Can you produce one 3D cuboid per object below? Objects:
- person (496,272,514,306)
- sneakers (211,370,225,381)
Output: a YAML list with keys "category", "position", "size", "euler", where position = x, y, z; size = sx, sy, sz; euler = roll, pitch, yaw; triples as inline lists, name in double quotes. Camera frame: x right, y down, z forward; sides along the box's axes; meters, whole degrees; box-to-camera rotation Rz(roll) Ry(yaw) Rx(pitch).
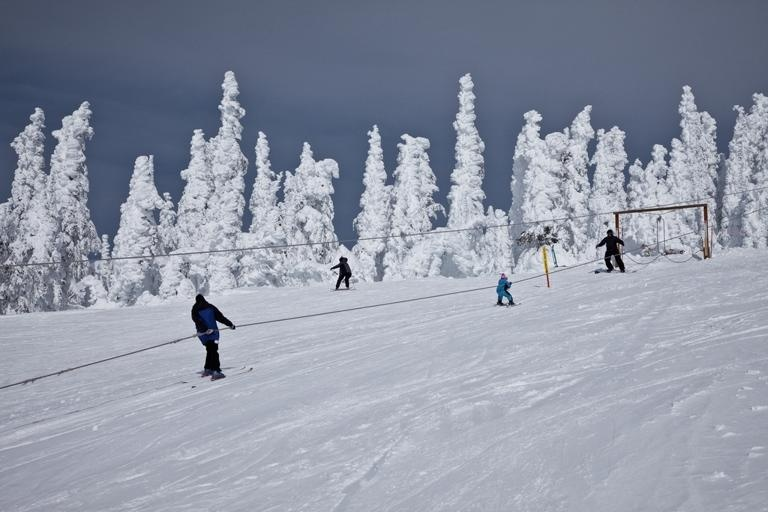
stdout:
- category: "person"
  position: [5.295, 1.483, 34.292]
  size: [0.748, 1.491, 0.882]
  euler: [-19, 23, -40]
- category: "sneakers"
  position: [-5.628, 4.012, 26.587]
  size: [0.329, 0.270, 0.275]
  euler: [-32, -10, 13]
